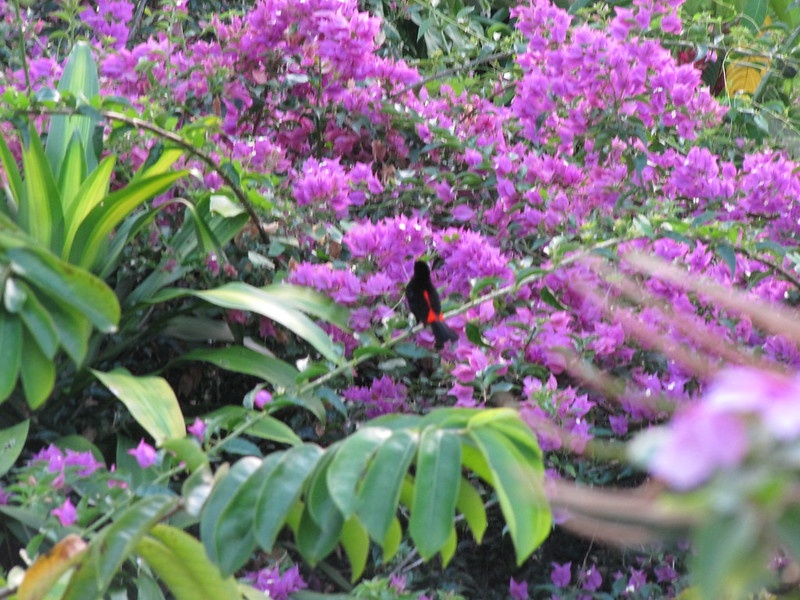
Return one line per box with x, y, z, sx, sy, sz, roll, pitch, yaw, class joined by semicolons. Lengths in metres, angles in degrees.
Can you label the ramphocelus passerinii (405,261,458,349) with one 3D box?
0.056;0.008;1.950;0.060;0.140;0.194;-4;19;-23;ramphocelus passerinii
